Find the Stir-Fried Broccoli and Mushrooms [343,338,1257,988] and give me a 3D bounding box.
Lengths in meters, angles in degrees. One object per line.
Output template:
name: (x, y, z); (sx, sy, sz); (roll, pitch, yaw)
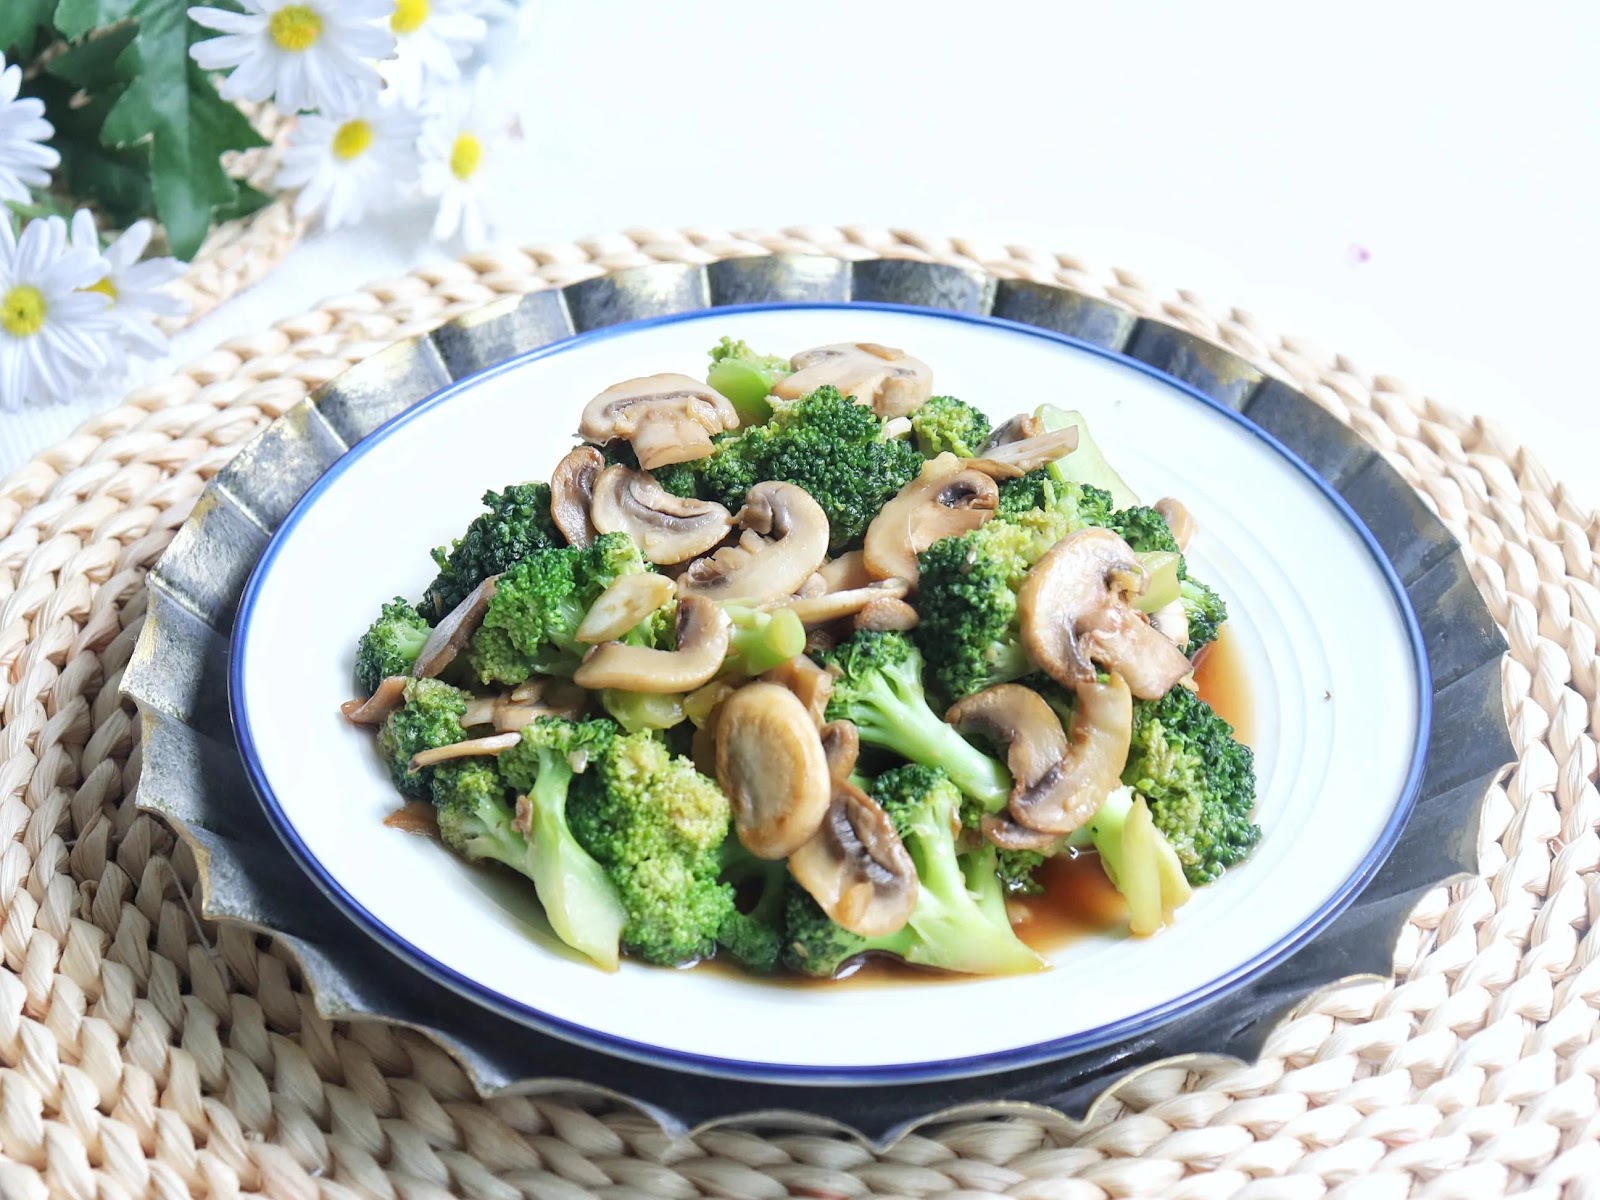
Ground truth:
Stir-Fried Broccoli and Mushrooms: (-0.005, 0.076, 3.836); (2.360, 0.650, 2.180); (9, 55, 11)
